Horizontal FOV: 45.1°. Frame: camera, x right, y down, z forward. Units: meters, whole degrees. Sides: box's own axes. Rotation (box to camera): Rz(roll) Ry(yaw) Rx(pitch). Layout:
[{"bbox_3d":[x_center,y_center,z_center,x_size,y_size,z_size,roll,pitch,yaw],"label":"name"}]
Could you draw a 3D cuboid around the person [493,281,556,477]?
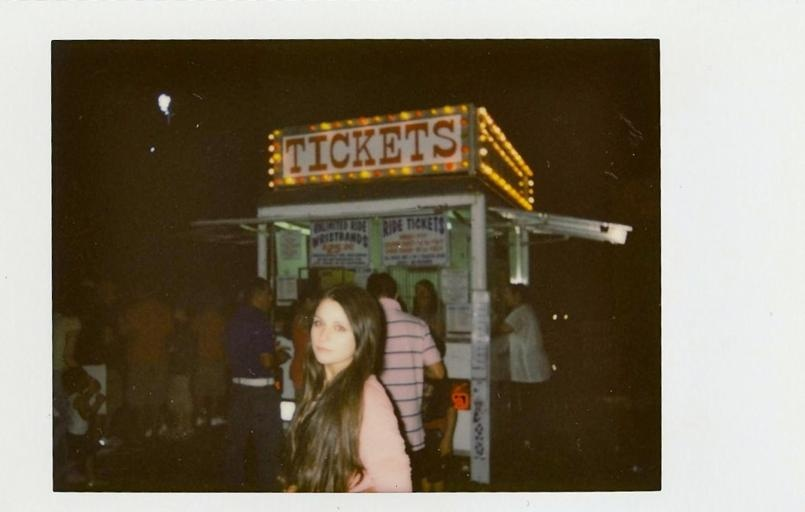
[{"bbox_3d":[1.187,1.239,9.691,0.559,1.875,0.243,0,2,8],"label":"person"}]
